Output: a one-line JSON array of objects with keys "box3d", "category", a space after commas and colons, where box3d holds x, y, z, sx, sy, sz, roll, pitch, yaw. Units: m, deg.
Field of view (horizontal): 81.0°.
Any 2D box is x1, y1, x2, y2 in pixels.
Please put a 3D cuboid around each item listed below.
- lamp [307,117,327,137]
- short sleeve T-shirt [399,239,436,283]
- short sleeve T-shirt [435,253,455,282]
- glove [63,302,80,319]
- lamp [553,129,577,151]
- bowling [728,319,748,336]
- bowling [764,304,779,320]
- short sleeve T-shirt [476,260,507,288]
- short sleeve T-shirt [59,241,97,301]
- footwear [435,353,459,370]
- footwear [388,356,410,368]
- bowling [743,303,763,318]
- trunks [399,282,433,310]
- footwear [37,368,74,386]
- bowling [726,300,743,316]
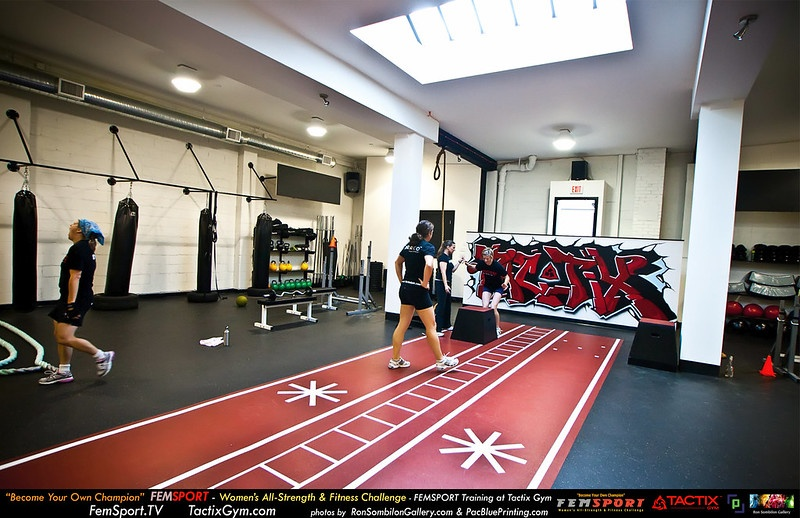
[{"box3d": [-1.747, -2.810, 10.113, 0.480, 0.433, 0.463, 1, 1, -18], "category": "lamp"}, {"box3d": [0.226, 0.043, 6.644, 0.523, 0.605, 0.327, 2, 1, 18], "category": "short sleeve T-shirt"}, {"box3d": [0.803, 0.120, 8.067, 0.391, 0.657, 0.698, 1, -2, 7], "category": "short sleeve T-shirt"}, {"box3d": [-4.066, 0.671, 5.888, 0.209, 0.201, 0.151, -1, -4, 36], "category": "glove"}, {"box3d": [3.390, -2.404, 9.683, 0.438, 0.412, 0.439, 0, -4, 18], "category": "lamp"}, {"box3d": [6.940, 1.411, 9.647, 0.315, 0.280, 0.171, 7, -2, 16], "category": "bowling"}, {"box3d": [7.425, 1.086, 9.412, 0.224, 0.259, 0.337, 2, 2, 35], "category": "bowling"}, {"box3d": [1.707, 0.259, 8.651, 0.593, 0.498, 0.295, 5, 12, 37], "category": "short sleeve T-shirt"}, {"box3d": [-4.048, 0.175, 5.898, 0.349, 0.810, 0.294, 1, 2, -34], "category": "short sleeve T-shirt"}, {"box3d": [0.688, 1.477, 6.728, 0.375, 0.166, 0.143, -4, 3, -35], "category": "footwear"}, {"box3d": [-0.015, 1.496, 6.814, 0.353, 0.145, 0.126, 0, 2, -29], "category": "footwear"}, {"box3d": [7.179, 1.063, 9.560, 0.278, 0.264, 0.277, -2, -1, 0], "category": "bowling"}, {"box3d": [0.246, 0.566, 6.664, 0.504, 0.352, 0.379, 8, 12, 42], "category": "trunks"}, {"box3d": [-4.281, 1.511, 5.903, 0.398, 0.161, 0.141, 10, -12, -30], "category": "footwear"}, {"box3d": [6.969, 1.056, 9.781, 0.290, 0.285, 0.234, 2, 2, 33], "category": "bowling"}]
